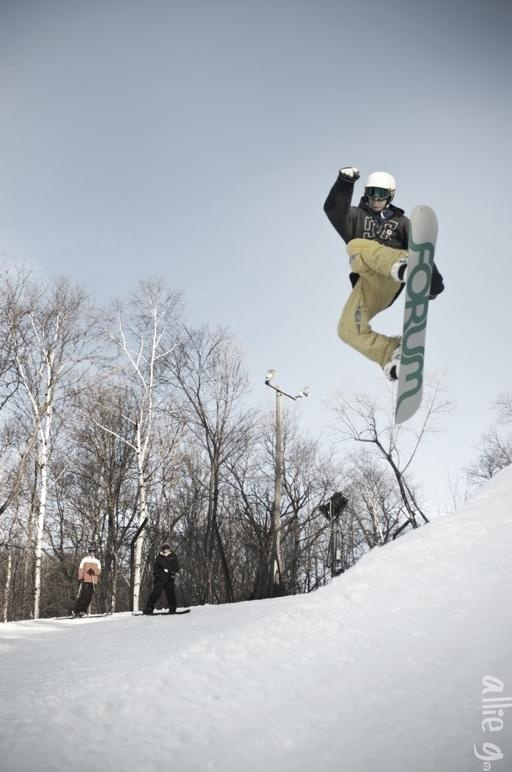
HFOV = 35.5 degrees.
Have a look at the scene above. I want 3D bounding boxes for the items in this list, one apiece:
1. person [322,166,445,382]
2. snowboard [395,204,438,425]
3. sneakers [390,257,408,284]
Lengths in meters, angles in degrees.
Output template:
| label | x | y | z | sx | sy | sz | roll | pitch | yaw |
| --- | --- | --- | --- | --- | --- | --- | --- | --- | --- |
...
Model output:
| label | x | y | z | sx | sy | sz | roll | pitch | yaw |
| --- | --- | --- | --- | --- | --- | --- | --- | --- | --- |
| person | 1.062 | -1.175 | 7.185 | 0.903 | 1.722 | 1.332 | -13 | -23 | 31 |
| snowboard | 1.300 | -0.708 | 6.569 | 0.265 | 1.997 | 0.264 | 5 | 23 | 11 |
| sneakers | 1.211 | -0.977 | 6.738 | 0.131 | 0.183 | 0.134 | 1 | 0 | 42 |
